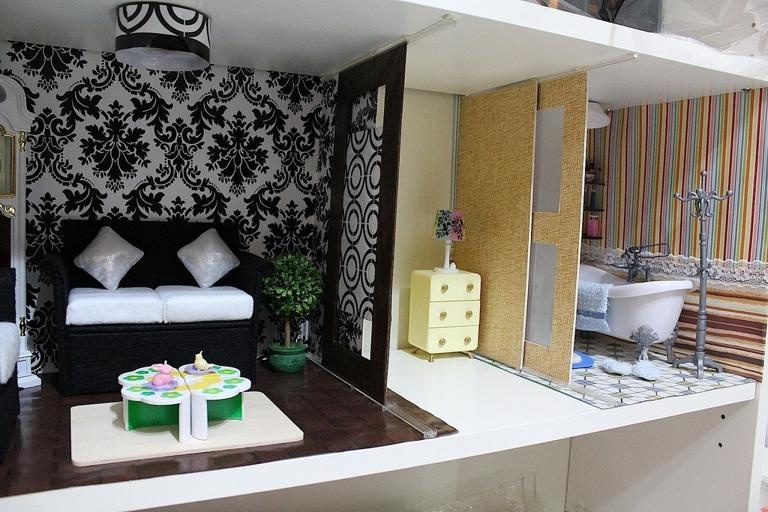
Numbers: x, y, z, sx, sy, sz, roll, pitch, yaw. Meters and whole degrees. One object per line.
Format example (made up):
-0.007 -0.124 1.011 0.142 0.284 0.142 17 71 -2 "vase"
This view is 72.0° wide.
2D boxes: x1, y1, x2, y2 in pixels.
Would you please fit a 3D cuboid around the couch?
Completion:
-1.866 0.395 4.305 1.670 1.274 0.894 0 3 -38 "couch"

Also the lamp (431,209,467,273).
0.603 -0.145 4.876 0.254 0.552 0.249 3 10 5 "lamp"

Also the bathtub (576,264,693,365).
2.300 0.494 4.882 0.657 0.593 1.374 9 -3 -29 "bathtub"

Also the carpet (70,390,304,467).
-1.351 1.134 3.550 1.406 0.048 1.015 5 2 -29 "carpet"

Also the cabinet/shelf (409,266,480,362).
0.556 0.553 4.990 0.652 0.767 0.600 2 2 -6 "cabinet/shelf"

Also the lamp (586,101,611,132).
2.144 -1.414 5.234 0.216 0.239 0.834 6 11 22 "lamp"

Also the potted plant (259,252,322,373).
-0.832 0.483 4.586 0.592 1.013 0.531 3 -1 -30 "potted plant"

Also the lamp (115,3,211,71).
-1.551 -1.445 3.629 0.429 0.208 0.418 1 2 -33 "lamp"

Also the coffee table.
-1.210 0.934 3.410 0.707 0.250 0.714 3 1 -35 "coffee table"

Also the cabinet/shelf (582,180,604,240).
2.249 -0.496 5.651 0.222 0.647 0.203 7 12 29 "cabinet/shelf"
